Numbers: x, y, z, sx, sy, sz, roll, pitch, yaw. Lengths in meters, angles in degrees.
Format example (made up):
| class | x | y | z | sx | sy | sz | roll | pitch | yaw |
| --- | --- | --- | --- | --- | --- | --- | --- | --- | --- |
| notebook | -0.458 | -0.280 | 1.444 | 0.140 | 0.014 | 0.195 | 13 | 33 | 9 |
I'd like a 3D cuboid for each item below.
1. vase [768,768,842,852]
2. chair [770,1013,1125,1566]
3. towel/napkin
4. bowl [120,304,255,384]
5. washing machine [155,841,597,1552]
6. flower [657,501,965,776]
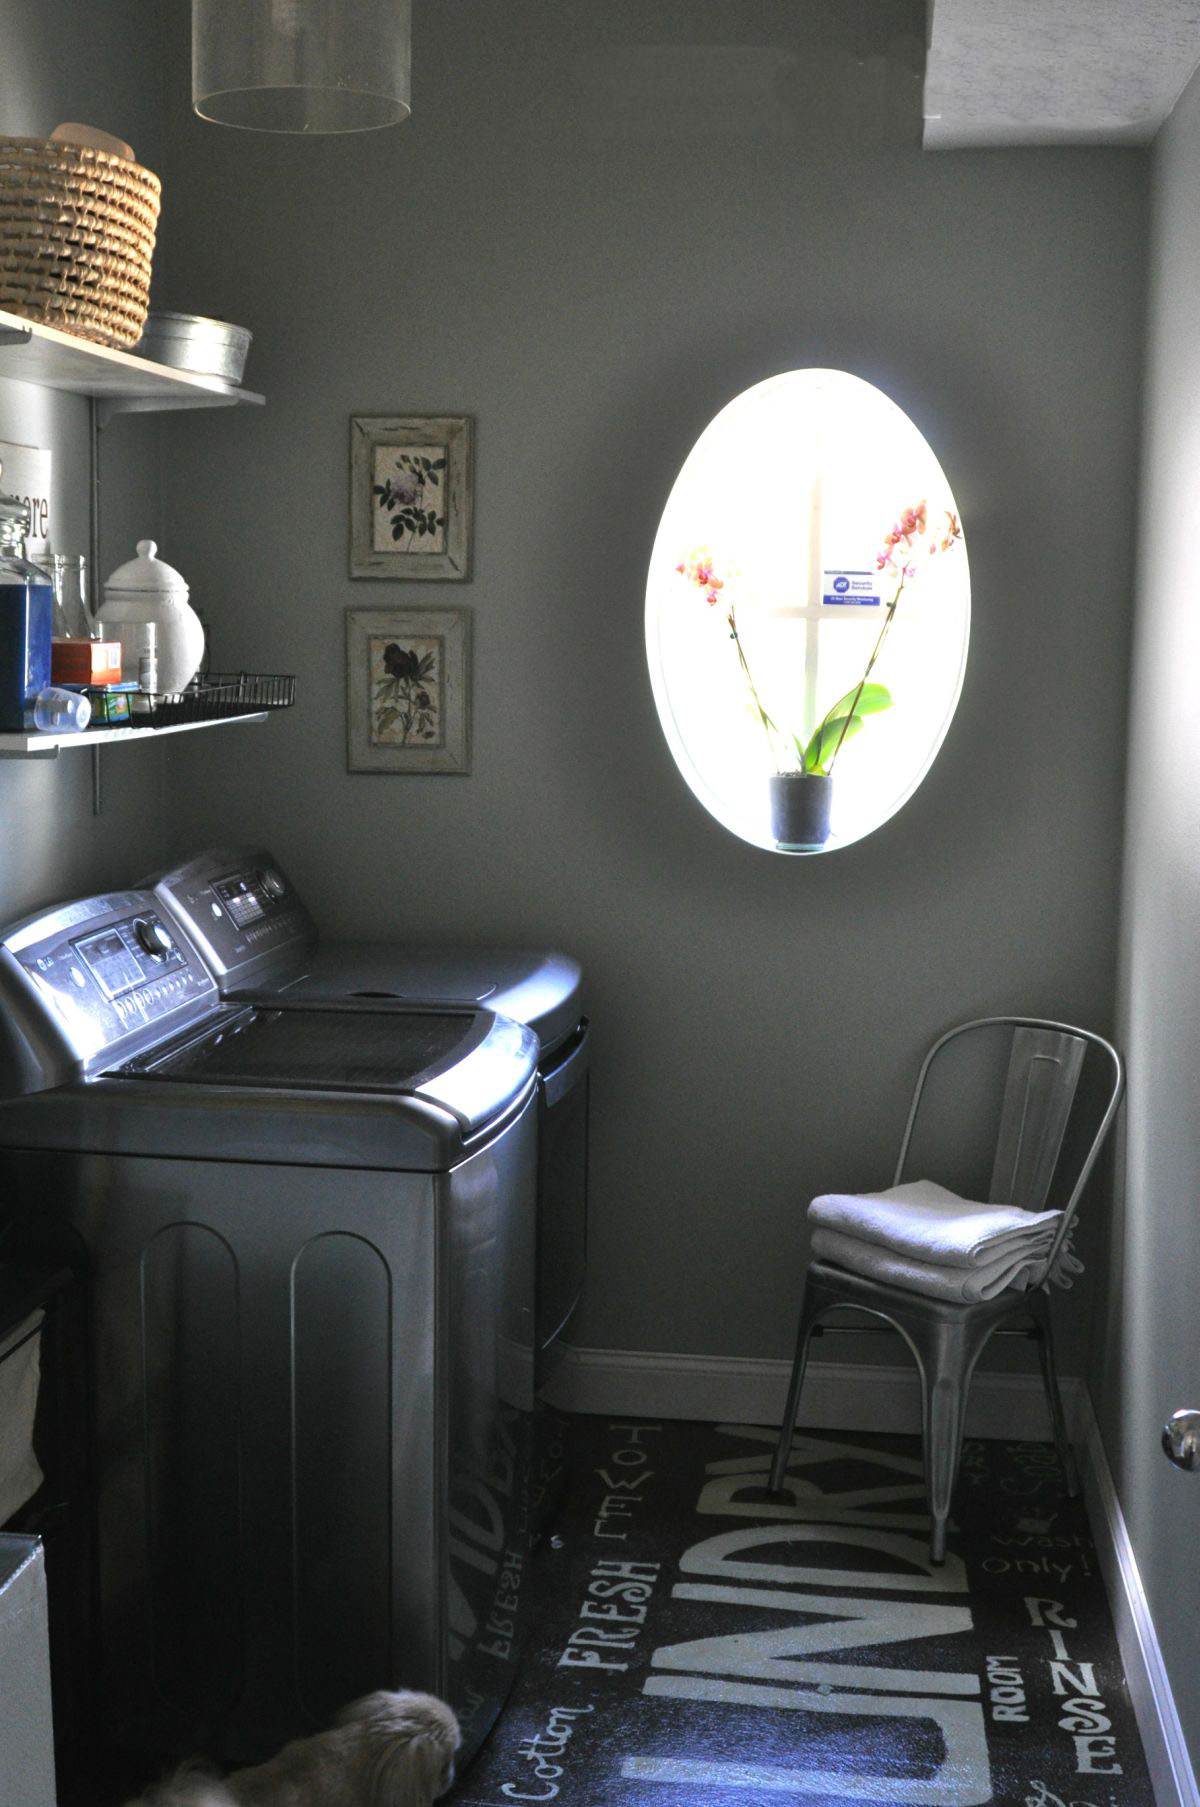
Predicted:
| class | x | y | z | sx | sy | sz | roll | pitch | yaw |
| --- | --- | --- | --- | --- | --- | --- | --- | --- | --- |
| vase | 0.367 | -0.162 | 2.770 | 0.113 | 0.147 | 0.106 | 1 | 3 | 7 |
| chair | 0.603 | 0.616 | 2.610 | 0.486 | 0.827 | 0.426 | 4 | -2 | -36 |
| towel/napkin | 0.552 | 0.573 | 2.521 | 0.408 | 0.136 | 0.324 | 3 | 4 | 36 |
| bowl | -0.616 | -0.808 | 2.199 | 0.140 | 0.054 | 0.137 | 6 | 5 | -1 |
| washing machine | -0.368 | 0.452 | 2.487 | 0.749 | 0.967 | 0.695 | 1 | 19 | 21 |
| flower | 0.442 | -0.557 | 3.066 | 0.543 | 0.585 | 0.155 | 3 | 16 | 13 |
